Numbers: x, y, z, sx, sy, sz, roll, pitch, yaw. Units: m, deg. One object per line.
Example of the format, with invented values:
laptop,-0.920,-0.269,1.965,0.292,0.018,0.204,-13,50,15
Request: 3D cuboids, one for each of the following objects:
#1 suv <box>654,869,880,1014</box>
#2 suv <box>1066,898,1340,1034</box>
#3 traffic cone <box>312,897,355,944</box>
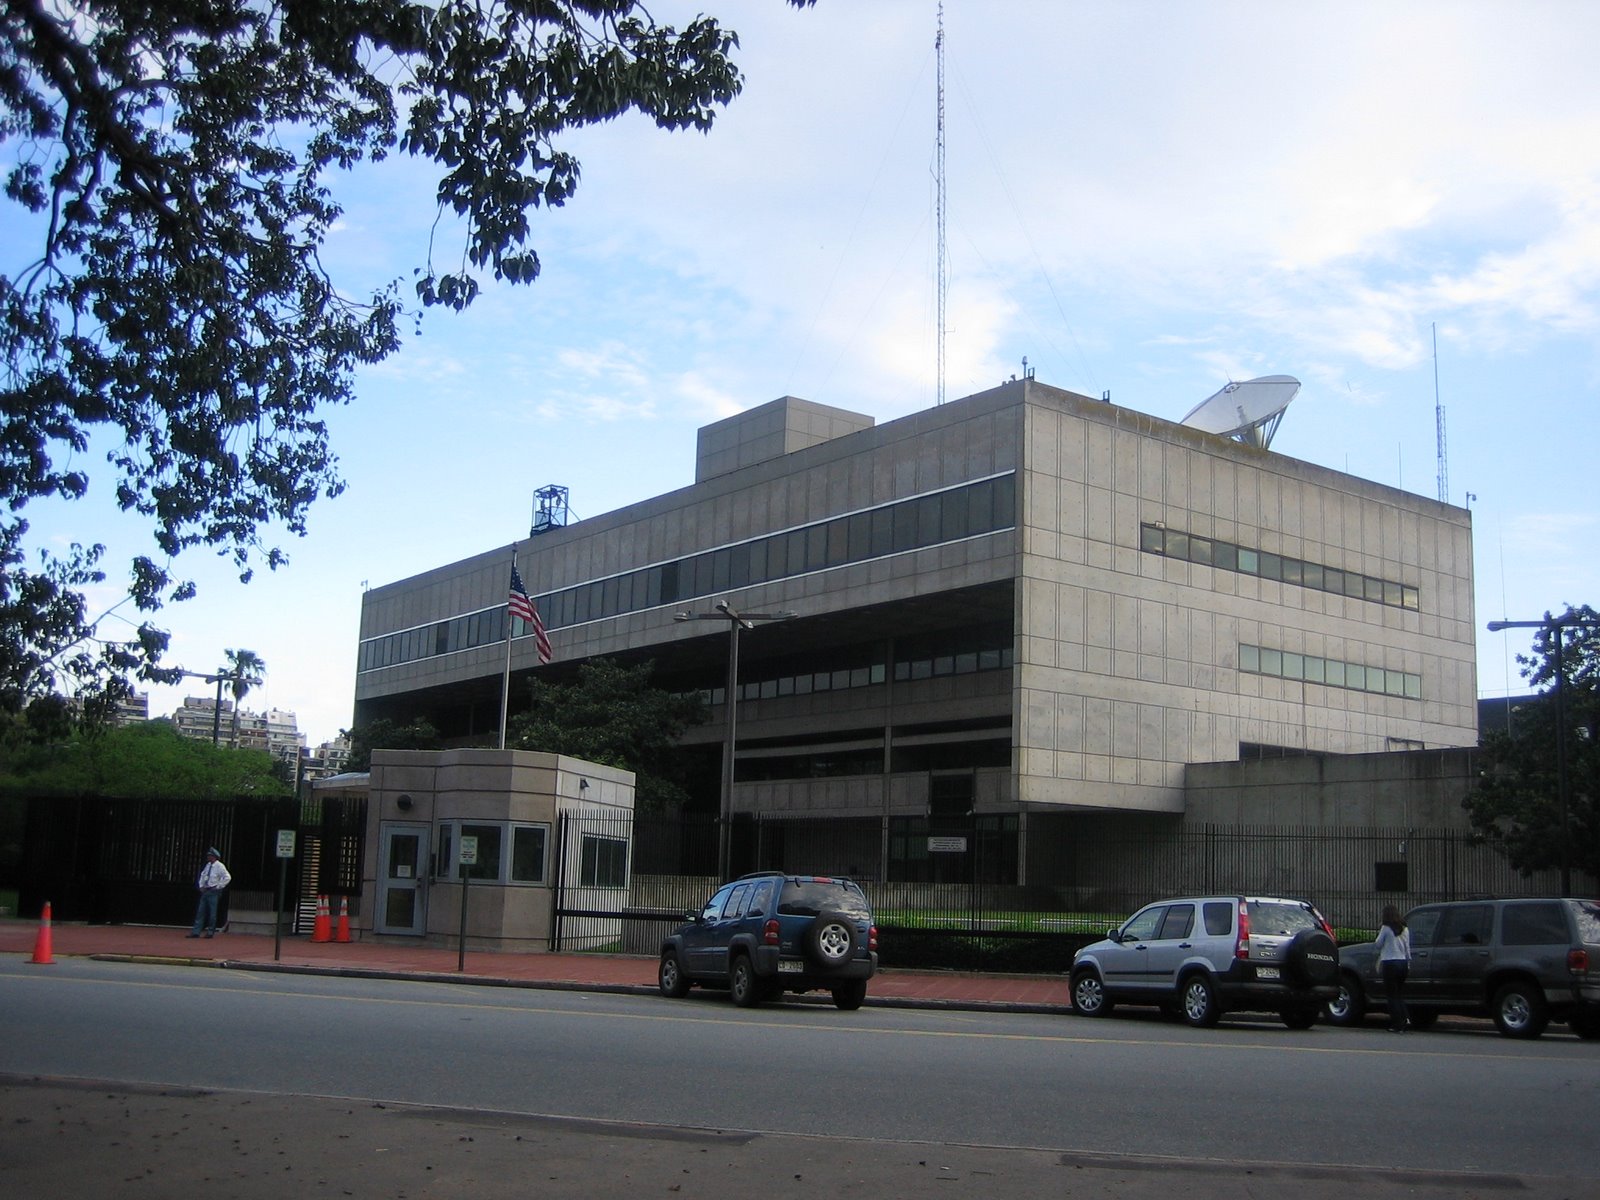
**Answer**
suv,-0.648,5.916,24.730,1.928,1.690,3.554,9,-11,-29
suv,6.392,5.838,22.843,3.835,2.042,1.599,-12,-20,41
traffic cone,-12.522,8.657,37.877,0.880,0.889,0.524,3,-17,-11
